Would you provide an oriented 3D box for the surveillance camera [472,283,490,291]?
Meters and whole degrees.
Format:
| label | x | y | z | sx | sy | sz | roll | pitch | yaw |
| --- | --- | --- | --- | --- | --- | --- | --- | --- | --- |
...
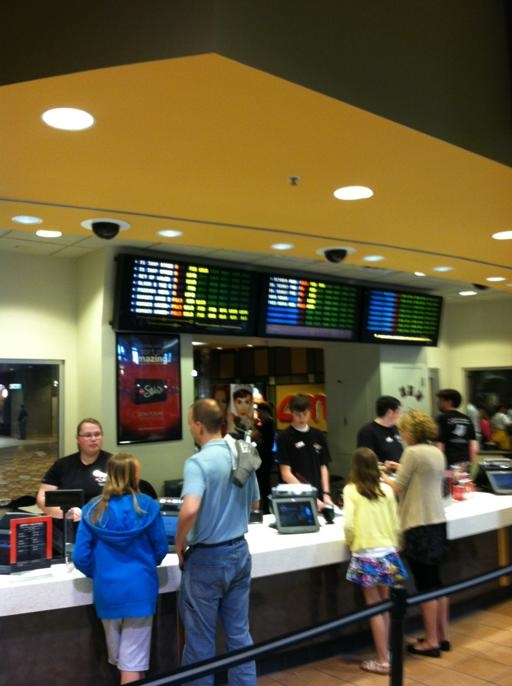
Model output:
| label | x | y | z | sx | sy | sz | roll | pitch | yaw |
| --- | --- | --- | --- | --- | --- | --- | --- | --- | --- |
| surveillance camera | 2.520 | -0.636 | 6.129 | 0.201 | 0.050 | 0.203 | 0 | -2 | 31 |

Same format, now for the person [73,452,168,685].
| label | x | y | z | sx | sy | sz | roll | pitch | yaw |
| --- | --- | --- | --- | --- | --- | --- | --- | --- | --- |
| person | -0.544 | 0.900 | 2.219 | 0.372 | 0.874 | 0.150 | -1 | -7 | -18 |

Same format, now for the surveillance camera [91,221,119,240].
| label | x | y | z | sx | sy | sz | roll | pitch | yaw |
| --- | --- | --- | --- | --- | --- | --- | --- | --- | --- |
| surveillance camera | -0.748 | -0.553 | 2.730 | 0.103 | 0.060 | 0.098 | 1 | -13 | -9 |

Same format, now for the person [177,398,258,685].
| label | x | y | z | sx | sy | sz | roll | pitch | yaw |
| --- | --- | --- | --- | --- | --- | --- | --- | --- | --- |
| person | -0.139 | 0.759 | 2.251 | 0.385 | 1.056 | 0.322 | -2 | -6 | -17 |

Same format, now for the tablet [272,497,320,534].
| label | x | y | z | sx | sy | sz | roll | pitch | yaw |
| --- | --- | --- | --- | --- | --- | --- | --- | --- | --- |
| tablet | 0.217 | 0.939 | 2.973 | 0.217 | 0.183 | 0.021 | 1 | -40 | -15 |

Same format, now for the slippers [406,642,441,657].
| label | x | y | z | sx | sy | sz | roll | pitch | yaw |
| --- | --- | --- | --- | --- | --- | --- | --- | --- | --- |
| slippers | 0.932 | 1.715 | 3.043 | 0.188 | 0.065 | 0.074 | 2 | -10 | 21 |

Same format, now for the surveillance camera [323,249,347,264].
| label | x | y | z | sx | sy | sz | roll | pitch | yaw |
| --- | --- | --- | --- | --- | --- | --- | --- | --- | --- |
| surveillance camera | 0.524 | -0.564 | 3.575 | 0.097 | 0.068 | 0.089 | -1 | -1 | 37 |
